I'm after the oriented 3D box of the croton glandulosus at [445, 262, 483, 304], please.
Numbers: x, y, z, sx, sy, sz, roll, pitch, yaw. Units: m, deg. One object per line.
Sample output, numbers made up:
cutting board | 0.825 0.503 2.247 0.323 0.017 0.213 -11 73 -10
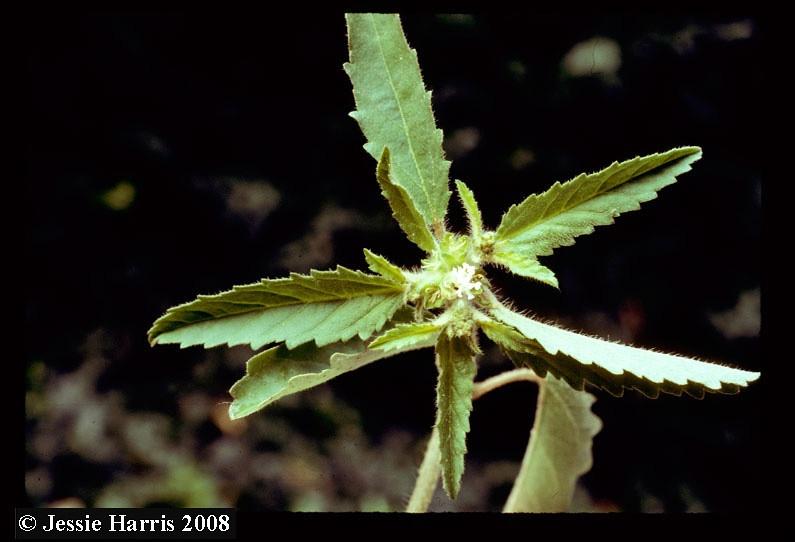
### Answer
croton glandulosus | 0.184 0.033 2.211 0.103 0.038 0.096 6 98 -2
